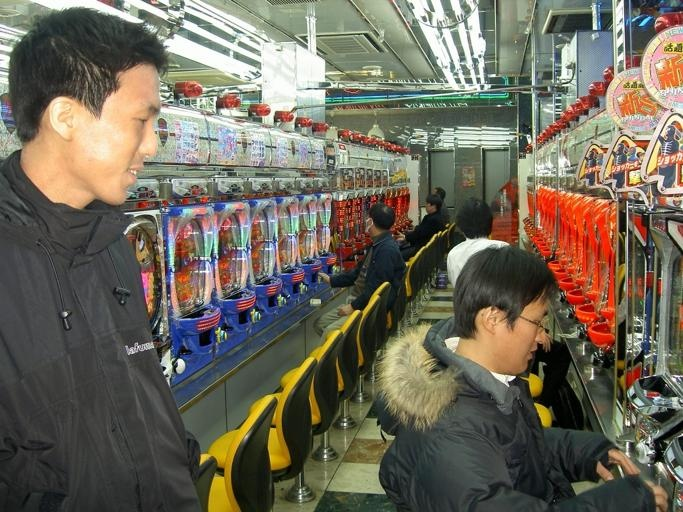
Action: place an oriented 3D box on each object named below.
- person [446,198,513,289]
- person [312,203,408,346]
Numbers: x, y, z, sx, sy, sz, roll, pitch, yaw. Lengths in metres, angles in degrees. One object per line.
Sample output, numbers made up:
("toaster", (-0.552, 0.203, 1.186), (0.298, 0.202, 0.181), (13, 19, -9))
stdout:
("person", (1.109, 0.058, 4.001), (0.433, 0.972, 0.487), (0, -3, 37))
("person", (0.168, 0.370, 5.344), (0.971, 1.846, 0.768), (1, 3, 12))
